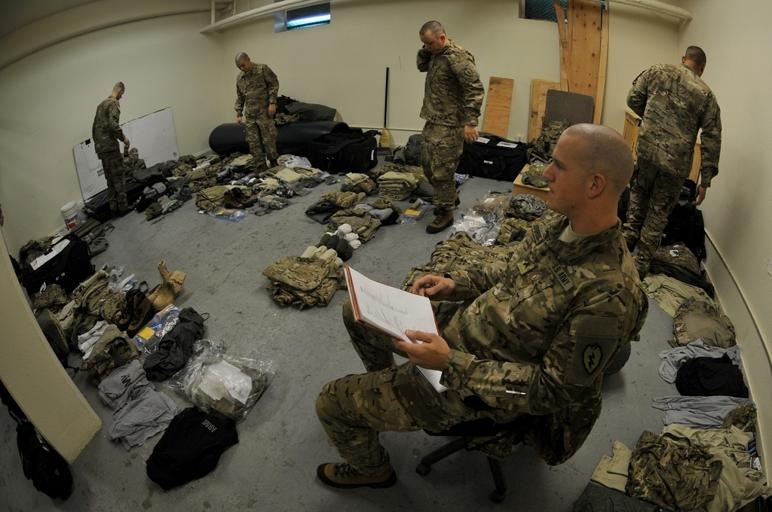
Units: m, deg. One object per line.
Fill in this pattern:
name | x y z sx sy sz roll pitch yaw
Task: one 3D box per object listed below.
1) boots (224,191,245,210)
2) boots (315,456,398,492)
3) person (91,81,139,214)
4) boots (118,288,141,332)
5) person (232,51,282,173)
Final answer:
boots | -2.000 -0.733 6.277 0.217 0.212 0.122 2 12 10
boots | -0.186 1.482 3.397 0.577 0.275 0.219 6 17 2
person | -3.235 -1.217 5.706 0.477 1.536 0.299 -24 33 -39
boots | -2.375 0.523 4.477 0.195 0.357 0.143 17 -17 -4
person | -1.957 -2.166 7.222 0.657 1.656 0.580 -3 25 -2
